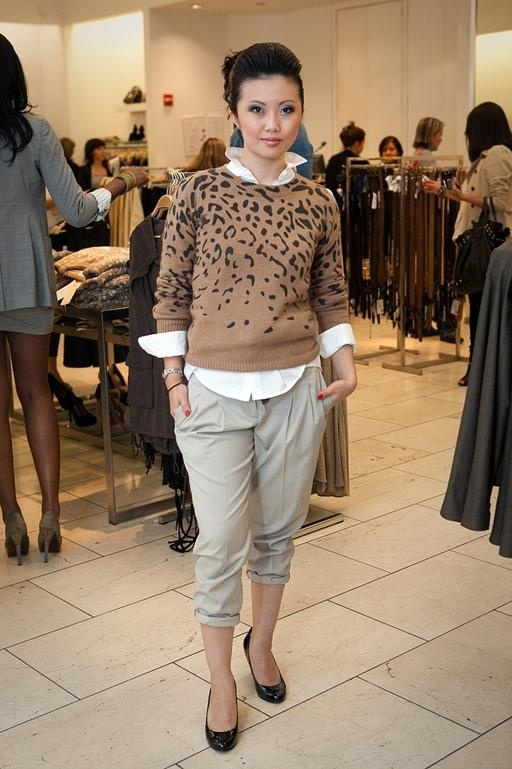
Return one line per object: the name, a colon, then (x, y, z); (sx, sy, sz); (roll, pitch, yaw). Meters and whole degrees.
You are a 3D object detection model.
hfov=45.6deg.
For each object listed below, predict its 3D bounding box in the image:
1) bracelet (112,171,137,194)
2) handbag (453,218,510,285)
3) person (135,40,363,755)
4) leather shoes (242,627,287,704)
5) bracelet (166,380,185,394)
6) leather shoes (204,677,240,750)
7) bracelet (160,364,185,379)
bracelet: (-0.571, -0.867, 2.616); (0.083, 0.104, 0.075); (6, -15, 38)
handbag: (1.703, -1.002, 4.677); (0.337, 0.587, 0.358); (2, 5, 43)
person: (-0.004, 0.077, 1.260); (0.338, 1.403, 0.372); (1, 5, 36)
leather shoes: (0.033, 0.671, 1.536); (0.071, 0.210, 0.082); (-14, -14, -21)
bracelet: (-0.161, 0.003, 1.214); (0.026, 0.011, 0.023); (-31, 7, -20)
leather shoes: (-0.077, 0.704, 1.341); (0.050, 0.028, 0.165); (-1, 32, 0)
bracelet: (-0.177, -0.028, 1.235); (0.033, 0.017, 0.030); (2, 15, 9)
